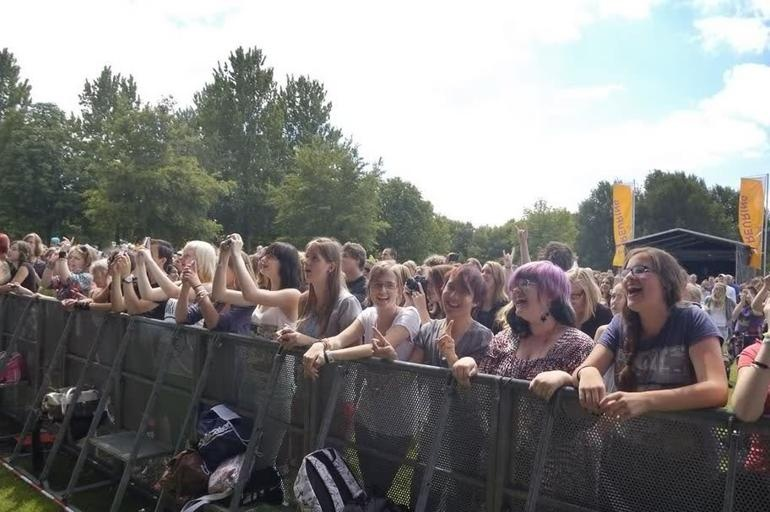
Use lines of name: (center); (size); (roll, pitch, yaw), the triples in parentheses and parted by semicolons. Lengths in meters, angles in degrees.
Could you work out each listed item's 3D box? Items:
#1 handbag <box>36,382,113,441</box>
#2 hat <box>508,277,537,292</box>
handbag: (-3.828, 1.919, 7.836); (0.615, 0.379, 0.830); (4, -8, -41)
hat: (1.213, 0.256, 5.661); (0.129, 0.049, 0.136); (-11, -38, 38)
